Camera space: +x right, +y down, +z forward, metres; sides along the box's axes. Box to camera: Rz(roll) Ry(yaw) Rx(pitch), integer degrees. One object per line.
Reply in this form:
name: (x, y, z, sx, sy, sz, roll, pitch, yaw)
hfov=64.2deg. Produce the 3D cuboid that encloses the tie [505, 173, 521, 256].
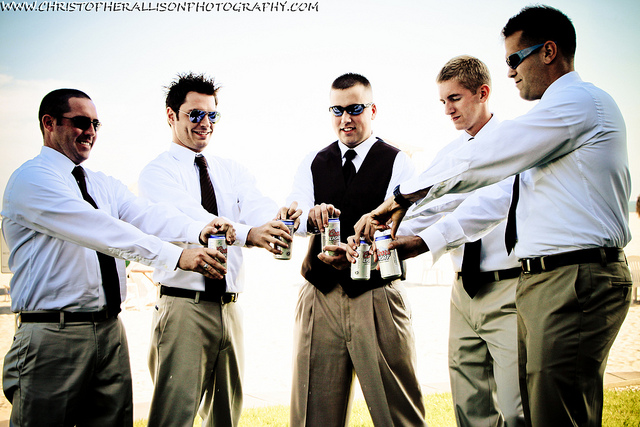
tie: (1.479, -0.007, 3.888, 0.055, 0.650, 0.146, 5, -3, 39)

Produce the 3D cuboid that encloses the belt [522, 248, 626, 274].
belt: (1.821, 0.343, 3.670, 0.662, 0.171, 0.201, -5, -6, 26)

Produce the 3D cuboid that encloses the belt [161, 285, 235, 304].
belt: (-1.046, 0.704, 4.403, 0.606, 0.178, 0.155, 0, -5, -16)
